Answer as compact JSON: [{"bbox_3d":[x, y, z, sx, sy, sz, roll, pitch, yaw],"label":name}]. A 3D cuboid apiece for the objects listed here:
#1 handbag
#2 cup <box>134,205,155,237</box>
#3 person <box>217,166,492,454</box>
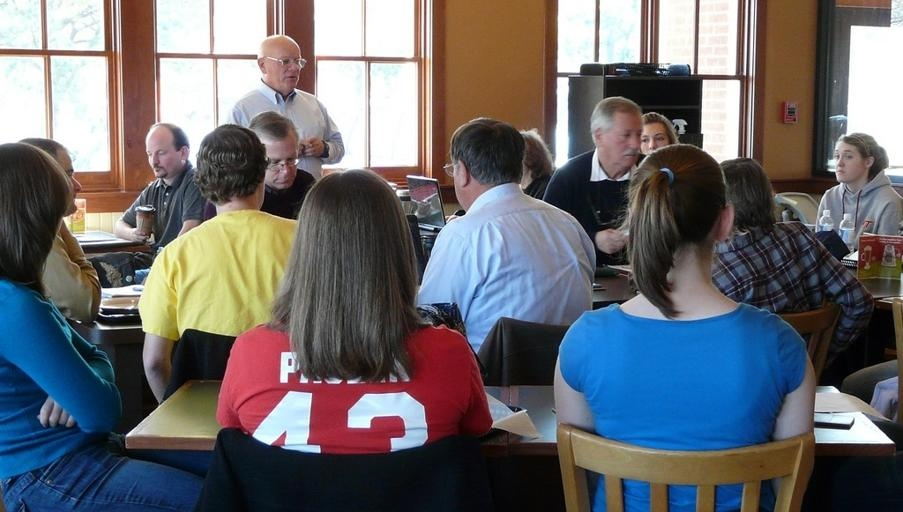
[{"bbox_3d":[-0.003,0.305,2.654,0.262,0.310,0.165,-19,6,4],"label":"handbag"},{"bbox_3d":[-1.908,-0.209,4.519,0.141,0.176,0.136,11,7,-1],"label":"cup"},{"bbox_3d":[-0.307,0.203,2.567,1.057,0.880,0.563,1,6,8],"label":"person"}]
